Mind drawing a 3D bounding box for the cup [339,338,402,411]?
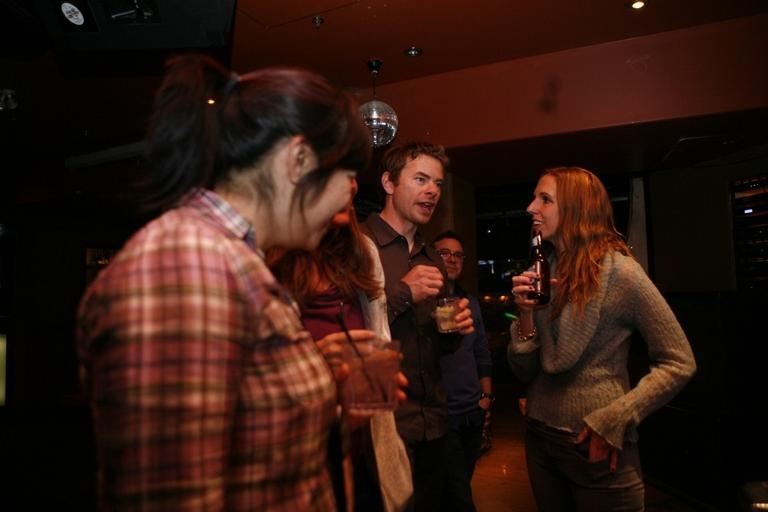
[{"bbox_3d":[-0.037,0.403,1.905,0.224,0.218,0.403,0,-1,3],"label":"cup"}]

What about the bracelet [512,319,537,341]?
[{"bbox_3d":[0.706,0.373,2.828,0.074,0.101,0.041,-35,-14,23],"label":"bracelet"}]

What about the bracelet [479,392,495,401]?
[{"bbox_3d":[0.686,0.944,3.705,0.081,0.047,0.093,4,-16,15],"label":"bracelet"}]

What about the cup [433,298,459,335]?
[{"bbox_3d":[0.300,0.294,2.692,0.114,0.154,0.186,-5,2,5],"label":"cup"}]
